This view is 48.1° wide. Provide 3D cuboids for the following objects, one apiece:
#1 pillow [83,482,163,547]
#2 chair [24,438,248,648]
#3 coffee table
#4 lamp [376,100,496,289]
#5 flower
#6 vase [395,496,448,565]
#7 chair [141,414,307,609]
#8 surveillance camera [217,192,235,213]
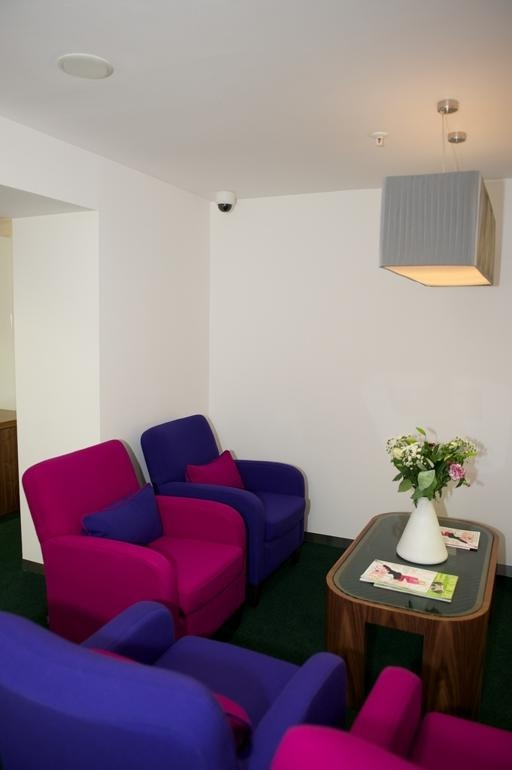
[{"bbox_3d":[-0.609,0.660,2.718,0.133,0.261,0.434,-7,0,31],"label":"pillow"},{"bbox_3d":[-0.552,0.672,2.880,1.011,1.070,0.795,7,14,25],"label":"chair"},{"bbox_3d":[0.722,0.962,2.514,0.596,0.477,0.984,3,9,28],"label":"coffee table"},{"bbox_3d":[0.683,-0.747,2.151,0.374,0.728,0.754,0,3,24],"label":"lamp"},{"bbox_3d":[0.745,0.381,2.587,0.283,0.291,0.311,-12,-22,-19],"label":"flower"},{"bbox_3d":[0.726,0.649,2.605,0.255,0.291,0.265,3,0,-22],"label":"vase"},{"bbox_3d":[-0.156,0.686,3.402,0.858,0.871,0.760,0,7,16],"label":"chair"},{"bbox_3d":[-0.214,-1.197,3.775,0.092,0.112,0.105,0,-2,21],"label":"surveillance camera"}]
